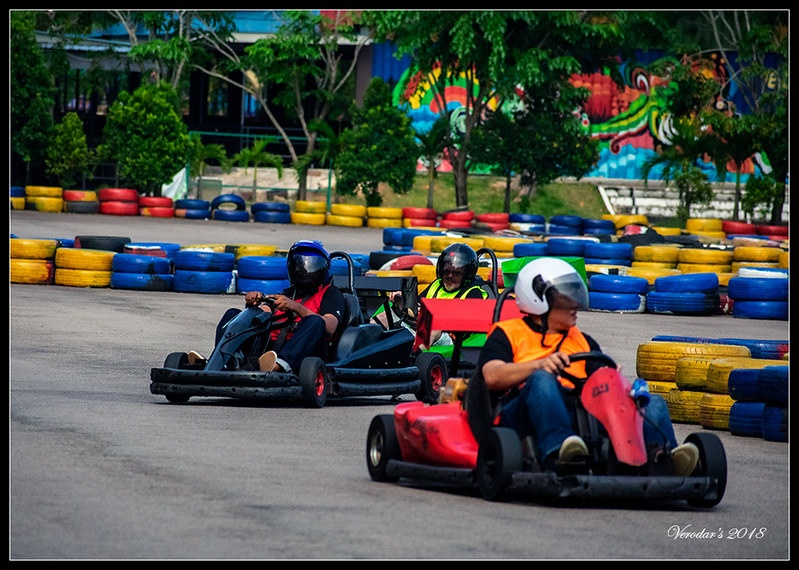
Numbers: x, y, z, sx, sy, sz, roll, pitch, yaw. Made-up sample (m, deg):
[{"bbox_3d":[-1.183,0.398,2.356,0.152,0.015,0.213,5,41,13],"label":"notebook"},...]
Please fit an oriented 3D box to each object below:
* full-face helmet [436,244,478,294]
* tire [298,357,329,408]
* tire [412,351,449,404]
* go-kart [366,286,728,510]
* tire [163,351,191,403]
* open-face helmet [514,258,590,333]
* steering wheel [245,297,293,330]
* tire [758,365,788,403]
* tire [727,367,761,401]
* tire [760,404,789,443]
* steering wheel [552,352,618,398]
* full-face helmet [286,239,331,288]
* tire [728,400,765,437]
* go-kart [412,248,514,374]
[{"bbox_3d":[0.550,-0.180,12.174,0.373,0.477,0.444,9,22,29],"label":"full-face helmet"},{"bbox_3d":[-0.762,0.861,10.941,0.116,0.343,0.330,-1,26,20],"label":"tire"},{"bbox_3d":[0.261,0.874,11.605,0.134,0.435,0.426,-1,-10,26],"label":"tire"},{"bbox_3d":[0.973,0.831,8.810,1.778,1.302,2.262,5,-2,-31],"label":"go-kart"},{"bbox_3d":[-1.927,0.826,10.903,0.207,0.317,0.365,2,0,-11],"label":"tire"},{"bbox_3d":[1.037,0.089,8.629,0.536,0.556,0.411,7,16,31],"label":"open-face helmet"},{"bbox_3d":[-1.154,0.311,11.274,0.313,0.086,0.325,20,3,-1],"label":"steering wheel"},{"bbox_3d":[3.029,0.826,10.128,0.308,0.310,0.311,-3,4,26],"label":"tire"},{"bbox_3d":[2.774,0.824,10.295,0.301,0.294,0.236,2,33,14],"label":"tire"},{"bbox_3d":[2.995,1.131,10.136,0.064,0.284,0.232,1,1,-43],"label":"tire"},{"bbox_3d":[1.223,0.584,8.361,0.306,0.340,0.273,-2,7,-13],"label":"steering wheel"},{"bbox_3d":[-0.823,-0.184,11.623,0.406,0.459,0.554,0,3,17],"label":"full-face helmet"},{"bbox_3d":[2.814,1.114,10.301,0.258,0.246,0.264,2,-4,-3],"label":"tire"},{"bbox_3d":[0.940,0.178,12.119,0.690,1.298,1.631,-1,8,-3],"label":"go-kart"}]
